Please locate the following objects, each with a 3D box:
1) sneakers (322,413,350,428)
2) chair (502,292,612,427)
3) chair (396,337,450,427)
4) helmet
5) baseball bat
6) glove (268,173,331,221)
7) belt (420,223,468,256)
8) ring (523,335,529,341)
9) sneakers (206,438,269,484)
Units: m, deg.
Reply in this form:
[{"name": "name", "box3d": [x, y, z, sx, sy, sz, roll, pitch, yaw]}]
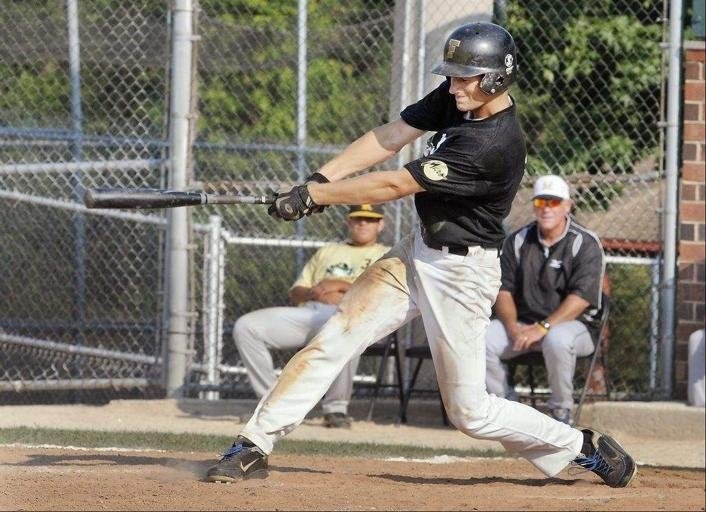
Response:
[{"name": "sneakers", "box3d": [-0.137, 1.274, 11.899, 0.196, 0.114, 0.097, -1, -2, 12]}, {"name": "chair", "box3d": [1.661, 0.611, 12.154, 0.698, 1.347, 0.827, -6, 14, 1]}, {"name": "chair", "box3d": [0.509, 1.008, 12.260, 0.498, 0.697, 0.448, -6, -3, 28]}, {"name": "helmet", "box3d": [0.840, -1.349, 10.264, 0.546, 0.417, 0.396, -15, 28, -24]}, {"name": "baseball bat", "box3d": [-1.219, -0.408, 10.649, 1.420, 0.128, 0.160, 3, 15, -6]}, {"name": "glove", "box3d": [-0.369, -0.390, 10.245, 0.403, 0.238, 0.172, -29, 21, -27]}, {"name": "belt", "box3d": [0.578, -0.084, 10.206, 0.216, 0.088, 0.221, 27, 4, 33]}, {"name": "ring", "box3d": [1.284, 0.614, 11.621, 0.034, 0.008, 0.034, 2, 18, -1]}, {"name": "sneakers", "box3d": [-0.755, 1.371, 10.213, 0.203, 0.237, 0.493, 3, -5, 43]}]
